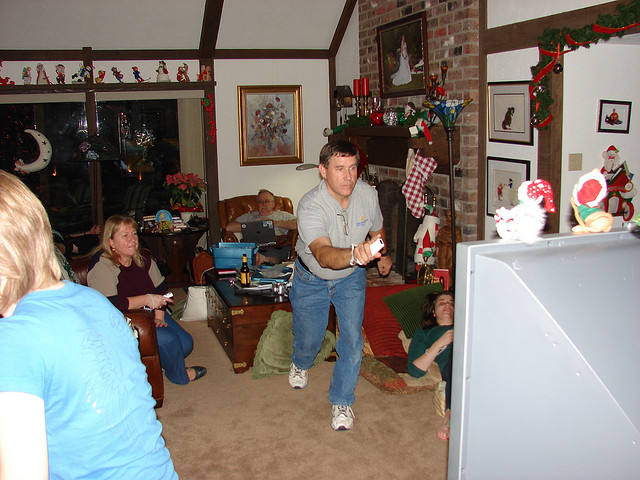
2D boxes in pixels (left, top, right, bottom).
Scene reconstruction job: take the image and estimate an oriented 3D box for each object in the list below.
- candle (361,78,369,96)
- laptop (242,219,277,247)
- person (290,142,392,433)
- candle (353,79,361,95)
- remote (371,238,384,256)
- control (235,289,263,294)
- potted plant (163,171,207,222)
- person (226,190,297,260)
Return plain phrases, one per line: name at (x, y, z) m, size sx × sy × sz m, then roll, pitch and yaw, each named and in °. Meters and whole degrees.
candle at (0.584, -1.994, 6.496) m, size 0.065 × 0.213 × 0.176 m, roll -3°, pitch 15°, yaw -6°
laptop at (-0.732, -0.087, 6.056) m, size 0.358 × 0.290 × 0.307 m, roll -7°, pitch -27°, yaw -7°
person at (0.119, 0.335, 3.230) m, size 0.674 × 1.893 × 1.447 m, roll -2°, pitch 14°, yaw -4°
candle at (0.495, -2.008, 6.537) m, size 0.120 × 0.183 × 0.036 m, roll -12°, pitch 17°, yaw -36°
remote at (0.259, 0.038, 2.262) m, size 0.050 × 0.106 × 0.109 m, roll 1°, pitch 15°, yaw 9°
control at (-0.599, 0.440, 4.252) m, size 0.242 × 0.031 × 0.045 m, roll 1°, pitch 15°, yaw 10°
potted plant at (-1.782, -0.681, 7.082) m, size 0.650 × 0.868 × 0.662 m, roll 1°, pitch 12°, yaw -4°
person at (-0.736, -0.165, 6.289) m, size 0.672 × 0.966 × 0.543 m, roll -2°, pitch -34°, yaw -2°
